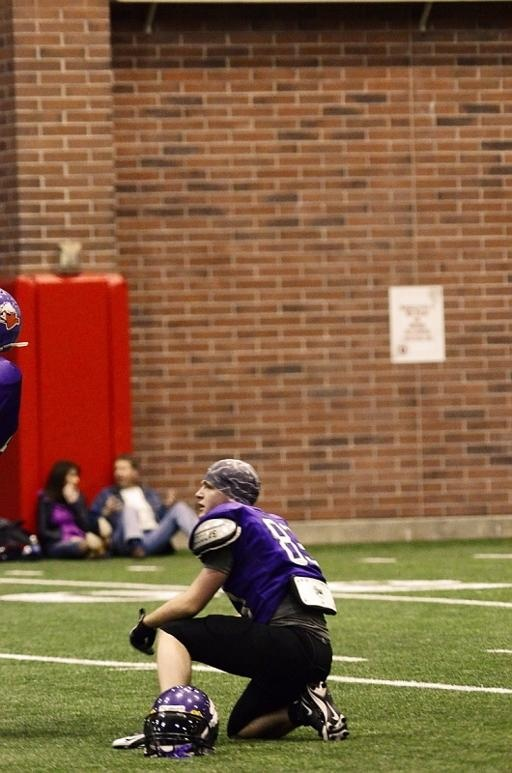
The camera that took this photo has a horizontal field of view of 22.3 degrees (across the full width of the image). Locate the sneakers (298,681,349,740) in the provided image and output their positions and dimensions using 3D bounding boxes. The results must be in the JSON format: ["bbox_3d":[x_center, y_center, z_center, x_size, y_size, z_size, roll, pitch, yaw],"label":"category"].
[{"bbox_3d":[0.160,0.969,3.943,0.097,0.114,0.256,-10,11,-29],"label":"sneakers"}]

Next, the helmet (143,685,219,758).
[{"bbox_3d":[-0.213,0.946,3.689,0.176,0.155,0.219,-10,-19,19],"label":"helmet"}]

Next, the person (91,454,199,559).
[{"bbox_3d":[-0.744,0.760,8.449,0.651,0.637,1.038,-4,-5,-32],"label":"person"}]

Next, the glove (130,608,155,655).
[{"bbox_3d":[-0.350,0.750,3.993,0.051,0.150,0.105,-5,25,7],"label":"glove"}]

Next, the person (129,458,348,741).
[{"bbox_3d":[-0.020,0.660,4.026,0.749,0.805,0.583,1,-14,13],"label":"person"}]
